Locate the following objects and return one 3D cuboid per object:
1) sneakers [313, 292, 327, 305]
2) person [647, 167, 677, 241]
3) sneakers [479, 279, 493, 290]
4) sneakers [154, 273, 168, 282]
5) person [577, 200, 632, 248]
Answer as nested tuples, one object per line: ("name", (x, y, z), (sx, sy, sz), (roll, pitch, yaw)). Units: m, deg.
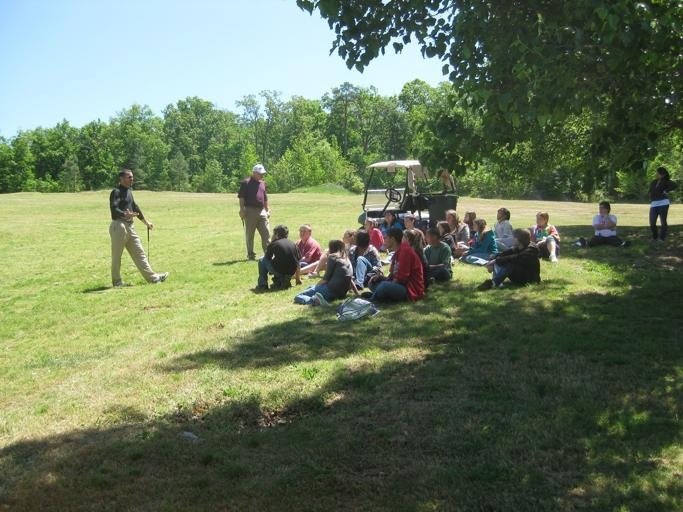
("sneakers", (-0.424, 0.845, 12.929), (0.141, 0.345, 0.124), (-34, -10, 10))
("person", (8.814, -1.443, 18.115), (0.547, 1.979, 1.074), (1, 5, 20))
("sneakers", (2.988, 0.593, 13.526), (0.380, 0.170, 0.136), (1, -2, -42))
("sneakers", (-4.240, 0.495, 15.591), (0.105, 0.141, 0.320), (20, 43, 32))
("person", (7.314, -0.893, 18.206), (1.140, 1.340, 1.765), (0, 6, 25))
